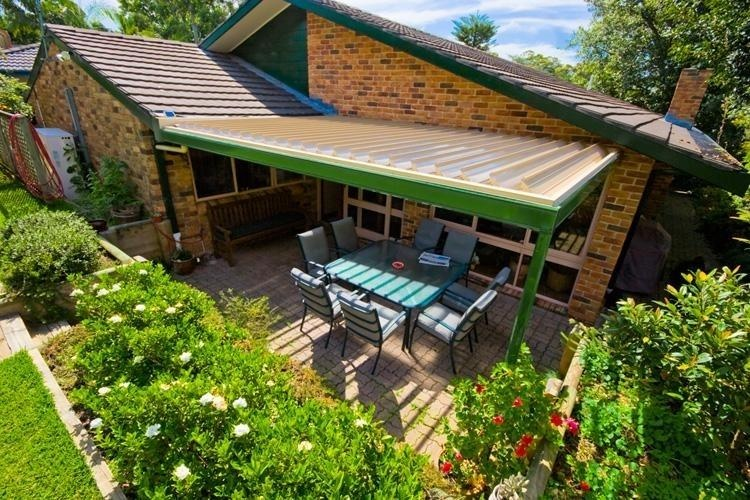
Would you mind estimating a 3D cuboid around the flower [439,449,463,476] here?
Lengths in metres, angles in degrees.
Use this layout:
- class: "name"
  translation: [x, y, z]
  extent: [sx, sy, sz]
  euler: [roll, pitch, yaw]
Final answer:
- class: "flower"
  translation: [1.148, 3.194, 6.926]
  extent: [0.382, 0.390, 0.186]
  euler: [48, 52, -9]

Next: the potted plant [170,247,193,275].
- class: "potted plant"
  translation: [-4.478, 0.265, 10.812]
  extent: [0.554, 0.403, 0.534]
  euler: [-9, 32, -19]

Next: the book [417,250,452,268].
- class: "book"
  translation: [1.244, 0.219, 9.747]
  extent: [0.368, 0.063, 0.399]
  euler: [14, 31, 22]
